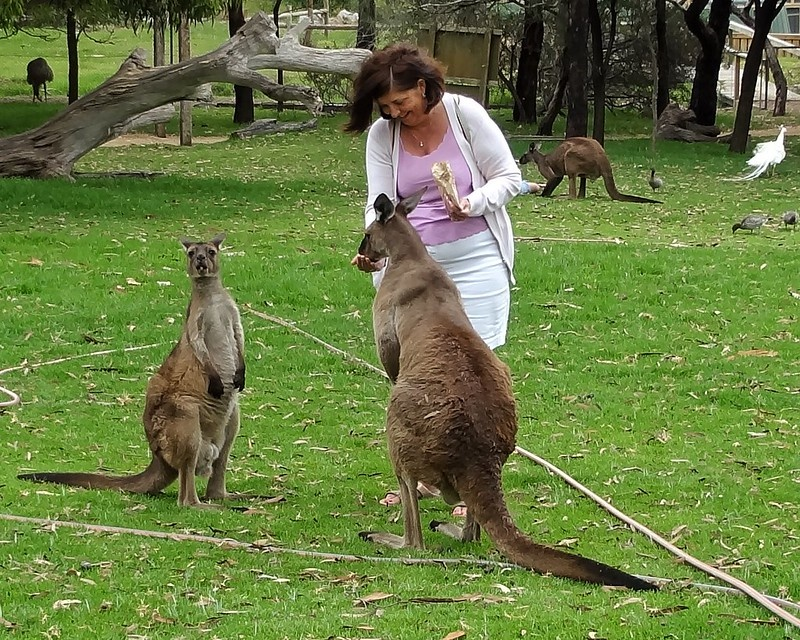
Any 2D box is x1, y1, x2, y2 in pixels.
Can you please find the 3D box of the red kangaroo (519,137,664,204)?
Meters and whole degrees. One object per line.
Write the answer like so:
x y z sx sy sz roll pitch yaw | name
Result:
3.199 -2.630 21.181 3.238 1.507 0.900 11 20 37 | red kangaroo

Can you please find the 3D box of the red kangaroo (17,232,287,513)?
-1.543 0.378 8.226 1.022 1.722 0.605 -1 9 -18 | red kangaroo

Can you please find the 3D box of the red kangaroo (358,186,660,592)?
0.312 0.357 7.341 0.695 2.158 1.817 -4 11 -37 | red kangaroo

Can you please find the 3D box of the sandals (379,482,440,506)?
0.055 1.220 8.456 0.437 0.125 0.187 -4 5 -22 | sandals
